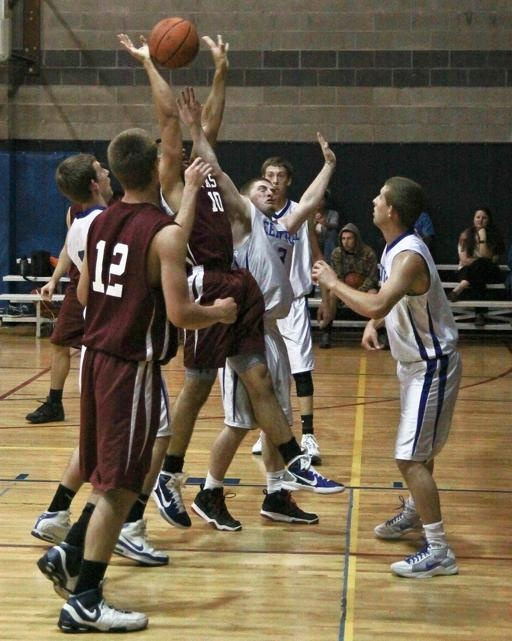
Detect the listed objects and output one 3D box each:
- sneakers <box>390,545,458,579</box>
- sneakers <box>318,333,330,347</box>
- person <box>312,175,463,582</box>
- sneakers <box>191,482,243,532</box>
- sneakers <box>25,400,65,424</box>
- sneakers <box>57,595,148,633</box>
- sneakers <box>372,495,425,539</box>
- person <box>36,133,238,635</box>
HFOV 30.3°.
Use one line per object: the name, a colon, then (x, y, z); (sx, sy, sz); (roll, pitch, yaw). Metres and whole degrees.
sneakers: (0.646, 0.922, 3.623); (0.305, 0.134, 0.100); (0, -2, -6)
sneakers: (0.705, 0.194, 9.796); (0.127, 0.133, 0.331); (1, 6, 3)
person: (0.527, 0.187, 3.724); (0.583, 1.525, 0.546); (2, 4, 4)
sneakers: (-0.161, 0.806, 4.106); (0.283, 0.142, 0.109); (24, 16, 37)
sneakers: (-1.324, 0.575, 5.977); (0.273, 0.155, 0.110); (3, 1, -13)
sneakers: (-0.508, 0.971, 3.159); (0.334, 0.134, 0.112); (2, -7, -10)
sneakers: (0.590, 0.825, 3.936); (0.231, 0.140, 0.074); (-6, 1, -16)
person: (-0.379, 0.196, 3.160); (0.555, 1.686, 0.388); (2, 4, 8)
